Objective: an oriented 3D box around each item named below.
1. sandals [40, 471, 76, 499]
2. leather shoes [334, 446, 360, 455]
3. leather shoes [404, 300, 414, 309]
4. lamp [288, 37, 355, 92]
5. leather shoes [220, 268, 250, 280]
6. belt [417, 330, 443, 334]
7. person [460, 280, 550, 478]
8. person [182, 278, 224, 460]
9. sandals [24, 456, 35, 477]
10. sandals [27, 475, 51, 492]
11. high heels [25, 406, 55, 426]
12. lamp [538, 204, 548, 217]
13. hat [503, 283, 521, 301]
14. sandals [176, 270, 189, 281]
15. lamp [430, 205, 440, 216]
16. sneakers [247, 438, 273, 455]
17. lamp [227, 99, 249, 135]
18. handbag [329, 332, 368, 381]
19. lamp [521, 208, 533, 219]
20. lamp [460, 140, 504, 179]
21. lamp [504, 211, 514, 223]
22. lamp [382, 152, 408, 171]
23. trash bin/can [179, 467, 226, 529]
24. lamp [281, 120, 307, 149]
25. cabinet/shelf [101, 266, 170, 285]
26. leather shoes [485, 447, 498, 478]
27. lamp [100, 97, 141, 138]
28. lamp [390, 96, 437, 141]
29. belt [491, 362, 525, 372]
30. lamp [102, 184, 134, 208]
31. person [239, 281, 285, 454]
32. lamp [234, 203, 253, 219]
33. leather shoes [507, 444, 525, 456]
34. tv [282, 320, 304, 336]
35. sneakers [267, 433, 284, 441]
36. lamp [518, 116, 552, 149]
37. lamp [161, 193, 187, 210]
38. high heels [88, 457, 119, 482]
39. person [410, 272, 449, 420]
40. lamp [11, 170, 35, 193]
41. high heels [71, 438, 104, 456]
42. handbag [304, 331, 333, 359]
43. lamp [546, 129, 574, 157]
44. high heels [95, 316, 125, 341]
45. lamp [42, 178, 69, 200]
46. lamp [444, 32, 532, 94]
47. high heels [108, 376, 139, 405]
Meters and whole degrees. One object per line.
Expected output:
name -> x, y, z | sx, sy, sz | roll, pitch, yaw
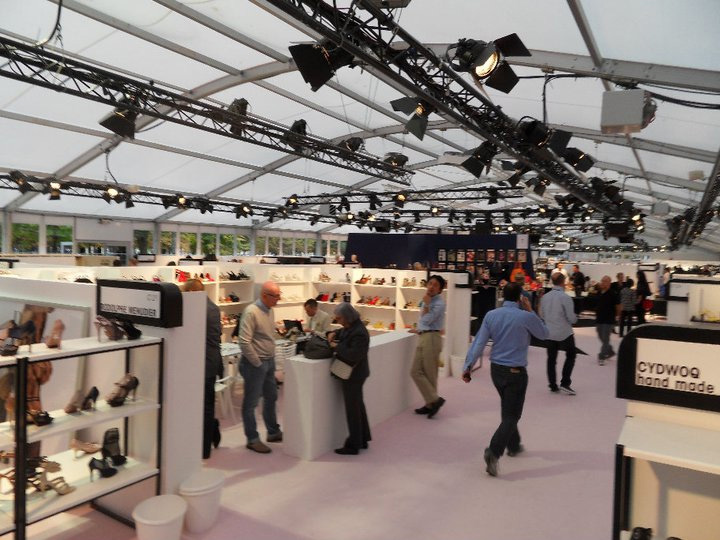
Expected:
sandals -> -2.640, 1.856, 4.421 | 0.324, 0.102, 0.150 | 3, 2, -7
leather shoes -> -0.151, 2.242, 6.376 | 0.346, 0.100, 0.101 | 3, -2, 11
leather shoes -> 1.025, 0.712, 10.530 | 0.090, 0.144, 0.248 | -3, -4, 32
lamp -> -0.486, -2.475, 6.029 | 0.705, 0.671, 0.311 | -41, 6, -36
leather shoes -> -2.600, 0.102, 10.442 | 0.192, 0.150, 0.519 | -1, -3, 31
belt -> 1.056, 0.923, 7.633 | 0.175, 0.031, 0.156 | 1, -2, -21
person -> 1.686, 1.249, 5.988 | 0.609, 2.178, 0.767 | 9, 11, 39
person -> -1.856, 1.213, 6.022 | 0.402, 2.143, 0.886 | 0, 9, -16
sandals -> -2.860, 1.699, 4.415 | 0.085, 0.151, 0.102 | -2, 9, -24
sandals -> -2.774, 1.823, 4.370 | 0.169, 0.124, 0.038 | 4, -41, -16
high heels -> -2.721, 1.219, 4.257 | 0.219, 0.066, 0.125 | 2, 2, 33
lamp -> 7.479, -2.382, 20.481 | 0.499, 0.358, 0.402 | 11, 45, 6
hat -> 1.839, 0.268, 6.072 | 0.226, 0.217, 0.229 | 5, 41, 11
sandals -> -3.265, 0.115, 9.483 | 0.270, 0.219, 0.660 | 2, -6, -15
lamp -> 3.303, -2.572, 21.627 | 0.485, 0.334, 0.469 | 0, -5, 2
sneakers -> -1.270, 2.215, 6.413 | 0.334, 0.104, 0.139 | 1, 2, 23
lamp -> -2.809, -3.524, 11.568 | 0.401, 0.708, 1.055 | 0, 7, -12
handbag -> -0.123, 1.031, 6.340 | 0.459, 0.715, 0.267 | 3, 9, 10
lamp -> 7.466, -2.520, 22.563 | 0.518, 0.165, 0.639 | -6, -7, 11
lamp -> 2.313, -2.107, 9.615 | 0.630, 0.643, 0.469 | 6, 9, 26
lamp -> 6.952, -2.468, 23.579 | 0.366, 0.527, 1.448 | 4, 7, 15
lamp -> 1.030, -2.989, 14.062 | 0.657, 0.422, 0.917 | 1, 14, -10
trash bin/can -> -1.552, 2.237, 4.961 | 0.375, 0.470, 0.377 | 2, 8, 1
lamp -> -1.628, -3.429, 12.675 | 0.528, 0.633, 1.186 | 1, 7, -8
cabinet/shelf -> -3.872, 0.041, 8.849 | 0.795, 0.145, 0.697 | 2, 1, 14
leather shoes -> 1.513, 2.213, 5.869 | 0.159, 0.310, 0.169 | -12, -12, 24
lamp -> -4.724, -3.043, 10.022 | 0.393, 0.812, 0.808 | 7, 9, 28
lamp -> 0.797, -2.321, 7.858 | 0.899, 0.667, 0.277 | 1, 14, -4
belt -> 1.739, 1.135, 5.892 | 0.394, 0.135, 0.192 | 3, 7, 13
lamp -> -7.563, -2.317, 15.639 | 1.105, 0.332, 0.956 | 11, 2, -1
person -> -1.256, 1.207, 6.437 | 0.562, 2.093, 0.556 | 4, 9, 13
lamp -> -4.595, -2.302, 19.875 | 0.678, 0.257, 0.882 | 0, -2, -29
leather shoes -> 1.989, 2.263, 6.445 | 0.280, 0.085, 0.089 | -7, 10, -31
tv -> -1.186, 0.992, 8.688 | 0.403, 0.218, 0.240 | 0, -10, 23
sneakers -> -1.112, 2.180, 6.682 | 0.283, 0.088, 0.092 | -1, 2, -11
lamp -> 2.951, -2.302, 8.512 | 0.457, 0.529, 0.910 | 3, 7, 9
lamp -> -6.617, -2.460, 18.025 | 0.837, 0.470, 0.536 | 1, 8, -5
high heels -> -2.367, 1.815, 4.649 | 0.296, 0.107, 0.137 | 6, 7, 21
person -> 1.064, 1.151, 7.658 | 0.505, 2.085, 0.579 | 3, 9, 6
lamp -> -9.983, -2.624, 14.864 | 0.566, 0.611, 1.826 | -3, 8, -32
high heels -> -2.656, 1.697, 4.896 | 0.293, 0.100, 0.158 | -1, 4, -45
handbag -> -0.552, 0.953, 6.507 | 0.343, 0.233, 0.389 | -6, -5, 17
lamp -> 3.427, -2.177, 8.669 | 0.326, 0.401, 0.597 | 5, 8, 19
high heels -> -2.300, 0.533, 4.633 | 0.173, 0.115, 0.297 | 23, -3, 10
lamp -> -9.370, -2.519, 15.529 | 1.009, 0.382, 0.544 | 3, -38, 5
lamp -> 1.666, -2.664, 6.346 | 0.999, 0.356, 0.873 | 18, -15, 4
high heels -> -2.167, 1.092, 4.687 | 0.159, 0.144, 0.367 | 12, 14, 3
